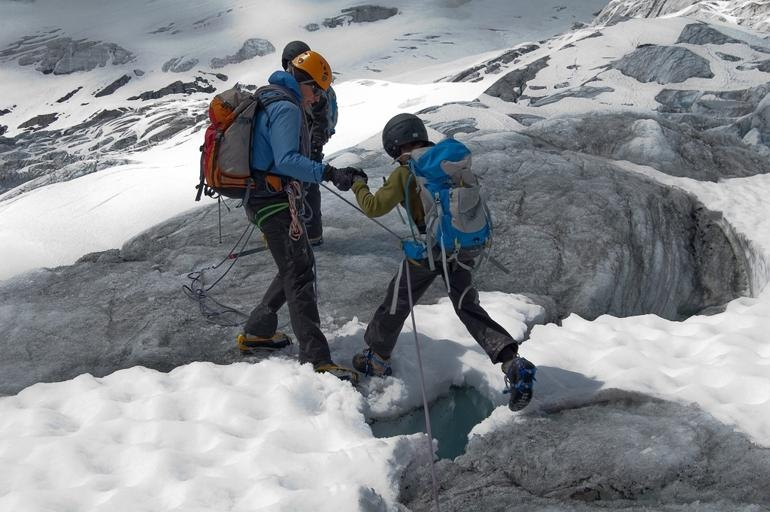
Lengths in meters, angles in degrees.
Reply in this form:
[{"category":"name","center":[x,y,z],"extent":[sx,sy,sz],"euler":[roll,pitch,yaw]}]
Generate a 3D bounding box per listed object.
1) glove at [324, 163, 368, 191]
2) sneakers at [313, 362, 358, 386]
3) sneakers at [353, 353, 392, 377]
[{"category":"glove","center":[-0.564,-1.039,10.306],"extent":[0.548,0.301,0.198],"euler":[20,44,-14]},{"category":"sneakers","center":[-0.626,1.585,10.783],"extent":[0.717,0.267,0.223],"euler":[15,33,-11]},{"category":"sneakers","center":[-0.180,1.510,10.824],"extent":[0.449,0.267,0.131],"euler":[13,54,5]}]
